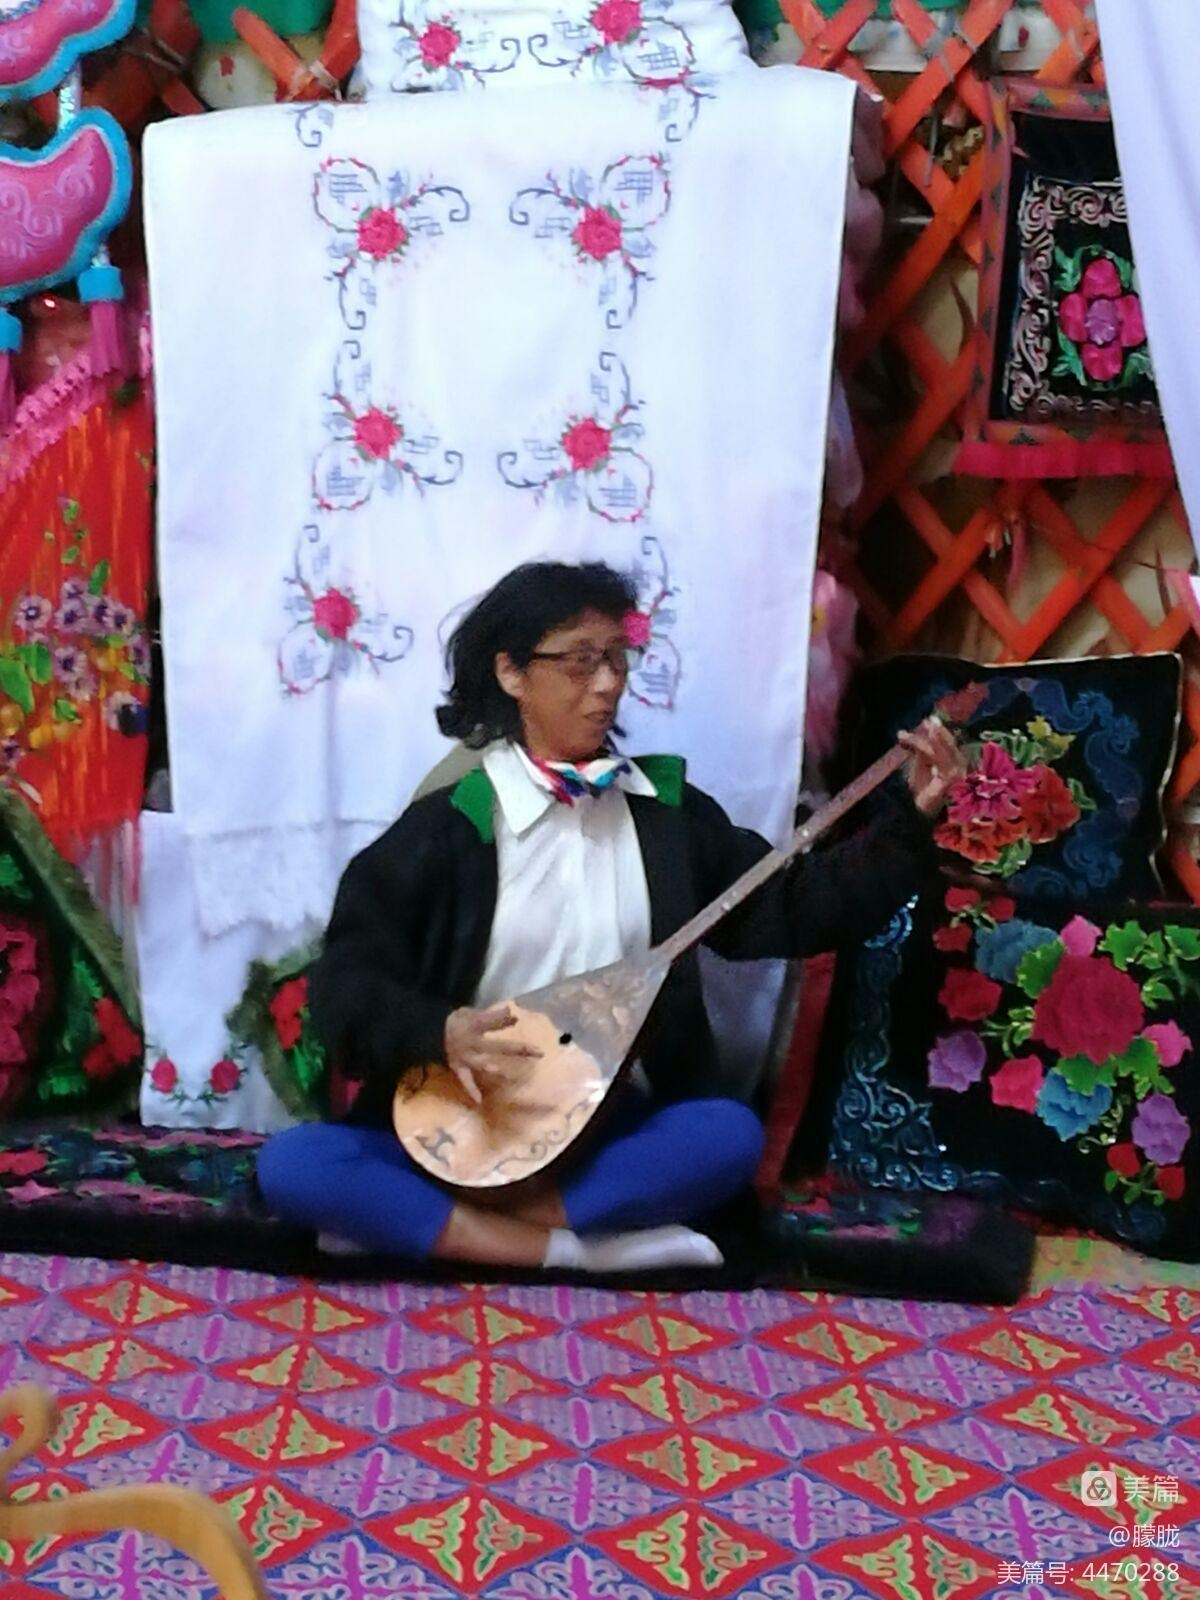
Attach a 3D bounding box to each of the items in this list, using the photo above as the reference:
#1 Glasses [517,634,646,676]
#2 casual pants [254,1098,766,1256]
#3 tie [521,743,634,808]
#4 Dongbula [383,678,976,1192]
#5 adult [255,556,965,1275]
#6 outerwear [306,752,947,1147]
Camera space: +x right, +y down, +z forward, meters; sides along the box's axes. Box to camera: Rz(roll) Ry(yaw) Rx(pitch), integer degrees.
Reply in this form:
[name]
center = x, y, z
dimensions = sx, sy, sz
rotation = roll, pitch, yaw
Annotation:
[Glasses]
center = -0.008, -0.140, 1.601
dimensions = 0.093, 0.038, 0.013
rotation = -11, -1, -24
[casual pants]
center = -0.078, 0.345, 1.525
dimensions = 0.250, 0.026, 0.095
rotation = -13, 33, -20
[tie]
center = -0.024, -0.024, 1.579
dimensions = 0.080, 0.030, 0.056
rotation = 8, -1, 10
[Dongbula]
center = 0.046, 0.150, 1.555
dimensions = 0.452, 0.372, 0.145
rotation = -2, 11, -19
[adult]
center = 0.010, 0.108, 1.614
dimensions = 0.724, 0.644, 0.366
rotation = 0, 6, -24
[outerwear]
center = 0.099, 0.123, 1.554
dimensions = 0.183, 0.675, 0.061
rotation = 52, 4, 37
